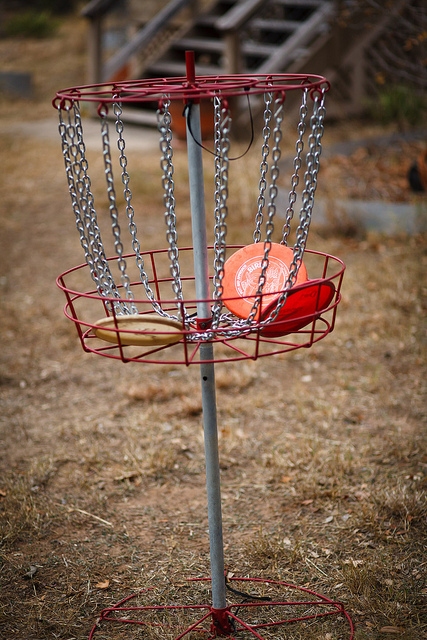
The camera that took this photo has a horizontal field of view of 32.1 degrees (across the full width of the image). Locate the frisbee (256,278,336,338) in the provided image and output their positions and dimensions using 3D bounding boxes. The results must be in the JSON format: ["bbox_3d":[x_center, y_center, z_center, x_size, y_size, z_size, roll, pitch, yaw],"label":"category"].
[{"bbox_3d":[0.243,-0.061,2.022,0.169,0.013,0.172,-13,26,9],"label":"frisbee"}]
